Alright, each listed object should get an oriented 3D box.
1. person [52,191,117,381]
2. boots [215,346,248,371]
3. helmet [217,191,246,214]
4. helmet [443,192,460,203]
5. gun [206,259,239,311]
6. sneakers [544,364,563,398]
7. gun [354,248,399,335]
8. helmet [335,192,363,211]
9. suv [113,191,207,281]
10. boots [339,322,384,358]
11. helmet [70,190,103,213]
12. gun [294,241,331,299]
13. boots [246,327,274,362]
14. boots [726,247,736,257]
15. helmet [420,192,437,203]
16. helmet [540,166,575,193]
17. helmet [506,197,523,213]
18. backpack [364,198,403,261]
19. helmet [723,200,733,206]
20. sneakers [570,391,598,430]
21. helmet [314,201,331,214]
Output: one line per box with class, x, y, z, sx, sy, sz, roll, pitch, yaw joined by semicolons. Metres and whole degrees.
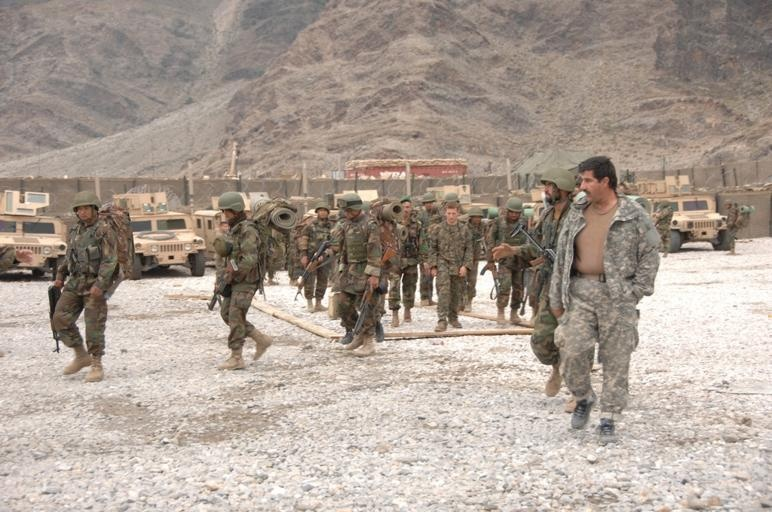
person;-3.830;0.374;9.727;0.878;2.347;0.606;3;10;27
boots;-2.007;1.370;10.155;0.430;0.342;0.195;5;-2;-5
helmet;-2.098;-0.706;10.229;0.346;0.223;0.254;-21;31;-33
helmet;1.173;-1.028;13.606;0.285;0.129;0.331;1;12;23
gun;-2.647;0.486;12.358;0.188;1.027;0.546;28;10;-23
sneakers;1.872;1.402;8.512;0.155;0.398;0.301;11;-4;19
gun;-0.145;0.503;11.156;0.312;1.360;0.153;16;-10;24
helmet;-0.504;-0.770;10.830;0.310;0.166;0.253;5;6;0
suv;-6.854;-0.781;22.392;2.191;1.966;3.781;-3;16;-31
boots;-0.413;1.183;10.869;0.830;0.498;0.295;10;9;0
helmet;-3.788;-0.700;9.706;0.304;0.173;0.307;2;12;13
gun;-1.368;0.264;14.493;0.552;1.294;0.137;9;-28;32
boots;-1.685;1.270;10.496;0.151;0.334;0.354;22;-20;-1
boots;10.968;-0.143;24.282;0.336;0.309;0.325;-3;2;-43
helmet;0.826;-1.156;15.280;0.268;0.153;0.309;-7;3;-38
helmet;2.065;-0.877;8.853;0.390;0.199;0.279;-4;18;-26
helmet;2.107;-0.825;12.416;0.237;0.203;0.275;9;11;0
backpack;0.022;-0.385;11.528;0.605;0.806;0.408;-1;3;-35
helmet;10.823;-1.630;24.086;0.218;0.176;0.308;2;10;22
sneakers;1.950;1.550;7.610;0.167;0.447;0.207;22;-6;40
helmet;-1.207;-0.951;14.609;0.262;0.110;0.322;3;-10;-5
